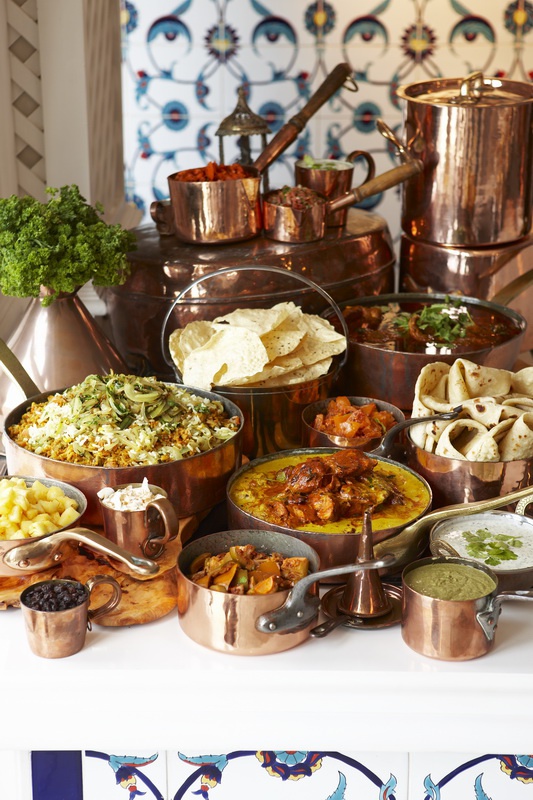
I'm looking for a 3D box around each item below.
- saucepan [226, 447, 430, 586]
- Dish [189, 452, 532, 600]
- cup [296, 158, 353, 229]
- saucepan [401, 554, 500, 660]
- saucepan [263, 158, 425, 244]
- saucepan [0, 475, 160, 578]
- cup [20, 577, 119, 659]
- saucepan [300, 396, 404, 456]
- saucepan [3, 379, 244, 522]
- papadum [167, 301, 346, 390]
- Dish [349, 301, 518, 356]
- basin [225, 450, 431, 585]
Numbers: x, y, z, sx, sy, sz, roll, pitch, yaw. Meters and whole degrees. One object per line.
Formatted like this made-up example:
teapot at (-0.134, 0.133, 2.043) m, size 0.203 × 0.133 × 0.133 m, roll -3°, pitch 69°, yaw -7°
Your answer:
saucepan at (0.078, 0.123, 0.918) m, size 0.245 × 0.072 × 0.231 m, roll 18°, pitch 29°, yaw 41°
Dish at (0.112, 0.142, 0.877) m, size 0.299 × 0.088 × 0.162 m, roll 3°, pitch 10°, yaw 7°
cup at (0.117, -0.429, 1.496) m, size 0.099 × 0.103 × 0.107 m, roll 0°, pitch 16°, yaw 0°
saucepan at (0.192, 0.217, 0.735) m, size 0.085 × 0.071 × 0.101 m, roll -15°, pitch 17°, yaw -30°
saucepan at (0.145, -0.371, 1.342) m, size 0.308 × 0.150 × 0.131 m, roll -3°, pitch 14°, yaw -1°
saucepan at (-0.228, 0.160, 0.806) m, size 0.189 × 0.050 × 0.098 m, roll 23°, pitch 26°, yaw 14°
cup at (-0.207, 0.223, 0.754) m, size 0.071 × 0.071 × 0.104 m, roll 3°, pitch 15°, yaw 23°
saucepan at (0.130, 0.044, 1.064) m, size 0.126 × 0.040 × 0.130 m, roll 16°, pitch 35°, yaw 28°
saucepan at (-0.171, 0.062, 0.999) m, size 0.246 × 0.076 × 0.243 m, roll 0°, pitch 14°, yaw -1°
papadum at (-0.013, -0.089, 1.162) m, size 0.283 × 0.115 × 0.195 m, roll -5°, pitch 14°, yaw -9°
Dish at (0.282, -0.174, 1.390) m, size 0.272 × 0.071 × 0.274 m, roll 13°, pitch 23°, yaw 34°
basin at (0.084, 0.123, 0.919) m, size 0.261 × 0.071 × 0.232 m, roll 7°, pitch 23°, yaw 19°
